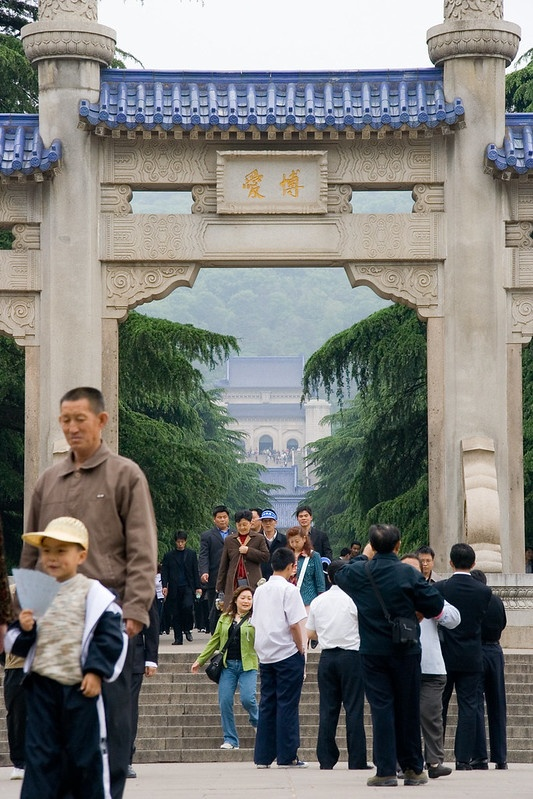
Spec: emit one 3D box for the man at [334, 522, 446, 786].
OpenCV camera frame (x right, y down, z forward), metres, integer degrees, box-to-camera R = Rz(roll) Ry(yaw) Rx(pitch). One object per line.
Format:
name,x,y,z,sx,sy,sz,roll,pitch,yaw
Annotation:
man,0.753,1.488,14.703,0.556,1.644,0.527,2,9,19

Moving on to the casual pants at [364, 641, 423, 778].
casual pants,0.762,1.773,14.600,0.326,1.156,0.275,-2,38,1

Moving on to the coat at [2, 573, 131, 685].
coat,-1.041,1.264,12.928,0.646,0.826,0.464,-5,-15,9

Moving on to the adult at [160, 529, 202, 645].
adult,-0.727,1.638,21.364,0.239,1.020,0.250,-2,5,-5

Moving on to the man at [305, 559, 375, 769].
man,0.472,1.653,15.734,0.359,1.479,0.401,1,13,10

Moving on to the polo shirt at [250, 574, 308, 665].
polo shirt,0.063,1.384,15.511,0.394,0.557,0.159,-4,-4,37

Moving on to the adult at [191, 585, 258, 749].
adult,-0.252,1.793,16.263,0.408,1.094,0.705,-1,-3,-1

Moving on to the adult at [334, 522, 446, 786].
adult,0.766,1.492,14.715,0.515,1.617,0.561,1,8,14

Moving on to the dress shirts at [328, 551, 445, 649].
dress shirts,0.738,1.215,14.588,0.605,0.598,0.257,-2,-3,13

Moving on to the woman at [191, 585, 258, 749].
woman,-0.215,1.764,16.288,0.420,1.107,0.463,1,9,1

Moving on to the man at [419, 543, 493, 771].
man,1.191,1.599,15.750,0.314,1.613,0.365,3,18,5

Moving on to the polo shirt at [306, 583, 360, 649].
polo shirt,0.446,1.402,15.692,0.375,0.476,0.250,-2,1,-1
